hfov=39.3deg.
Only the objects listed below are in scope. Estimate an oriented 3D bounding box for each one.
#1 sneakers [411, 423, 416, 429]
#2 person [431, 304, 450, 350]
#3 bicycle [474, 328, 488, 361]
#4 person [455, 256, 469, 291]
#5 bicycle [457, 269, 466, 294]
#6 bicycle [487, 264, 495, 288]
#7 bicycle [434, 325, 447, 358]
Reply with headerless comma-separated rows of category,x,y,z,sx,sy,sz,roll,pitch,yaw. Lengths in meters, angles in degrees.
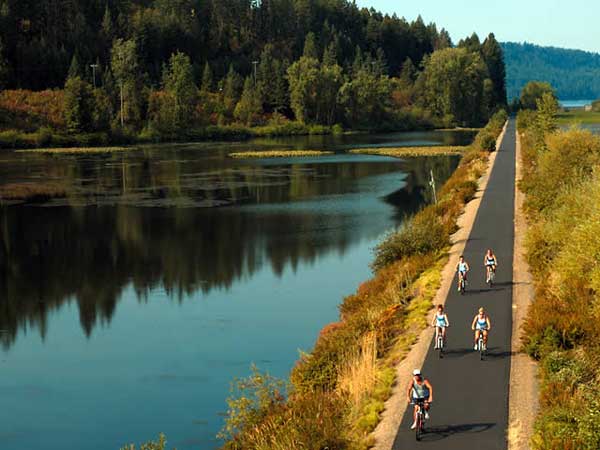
sneakers,4.891,8.714,36.626,0.182,0.302,0.084,-8,24,-42
person,6.745,4.876,41.132,0.962,1.326,1.841,-1,5,8
bicycle,8.639,5.673,40.191,0.520,1.270,0.721,0,9,2
person,8.684,2.573,45.754,0.805,1.154,1.649,-2,7,8
bicycle,8.737,2.926,45.726,0.449,1.235,1.283,1,10,10
bicycle,10.395,2.751,46.163,0.409,1.080,0.609,3,-27,13
bicycle,6.751,5.463,40.747,0.597,0.842,1.224,1,13,8
